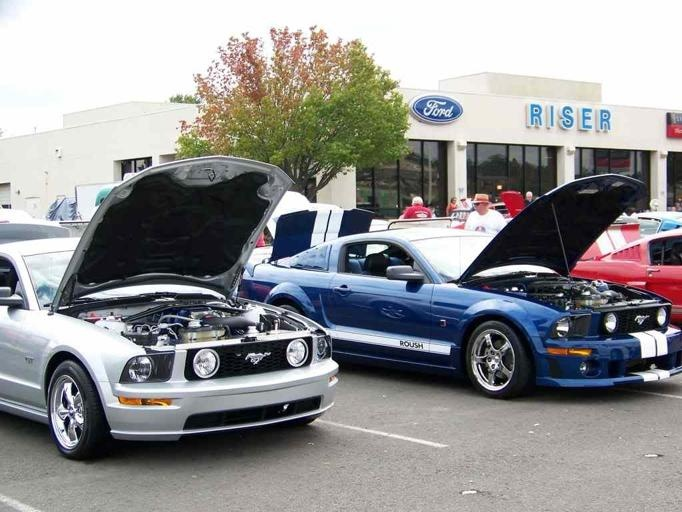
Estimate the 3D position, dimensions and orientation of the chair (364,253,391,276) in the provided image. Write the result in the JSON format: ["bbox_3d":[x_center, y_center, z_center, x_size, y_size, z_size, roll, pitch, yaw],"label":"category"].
[{"bbox_3d":[0.460,0.108,8.094,0.290,0.274,0.308,8,5,45],"label":"chair"}]

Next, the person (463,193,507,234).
[{"bbox_3d":[2.589,-0.715,11.167,0.529,0.825,0.942,-17,18,-38],"label":"person"}]
